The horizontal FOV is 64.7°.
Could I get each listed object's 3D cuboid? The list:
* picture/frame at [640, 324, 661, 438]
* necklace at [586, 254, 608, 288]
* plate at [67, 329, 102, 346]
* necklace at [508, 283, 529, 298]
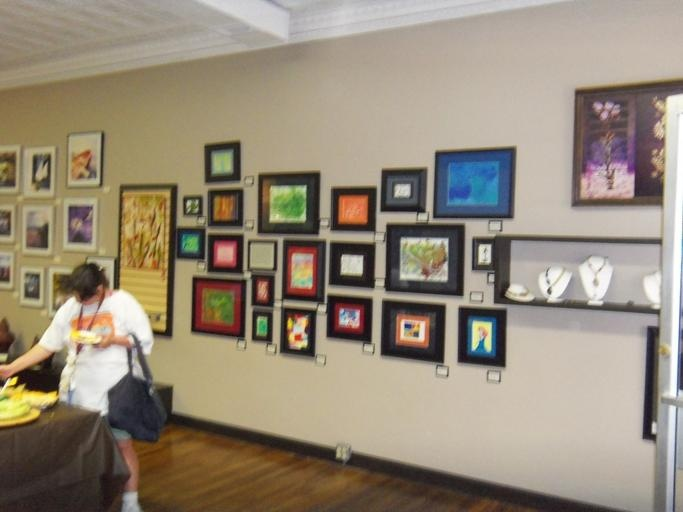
[{"bbox_3d":[2.216,0.919,3.892,0.086,0.833,0.079,3,3,32],"label":"picture/frame"},{"bbox_3d":[1.898,0.107,4.015,0.136,0.212,0.080,3,3,24],"label":"necklace"},{"bbox_3d":[-1.756,0.571,3.734,0.287,0.098,0.128,4,4,32],"label":"plate"},{"bbox_3d":[1.366,0.270,4.207,0.149,0.088,0.127,3,3,21],"label":"necklace"}]
